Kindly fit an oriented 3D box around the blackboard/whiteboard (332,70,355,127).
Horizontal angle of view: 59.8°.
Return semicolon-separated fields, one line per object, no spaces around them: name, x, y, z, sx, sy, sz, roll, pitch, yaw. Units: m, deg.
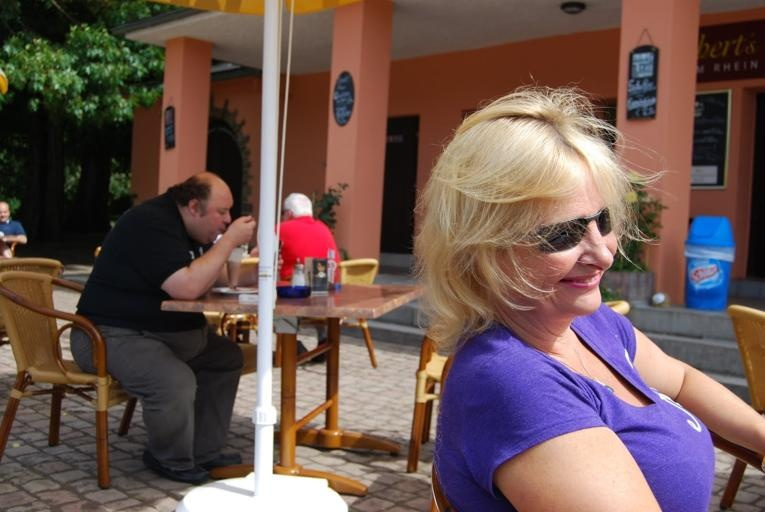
blackboard/whiteboard;-0.601;-2.444;10.349;0.040;1.033;0.755;-4;13;-32

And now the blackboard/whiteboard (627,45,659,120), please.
blackboard/whiteboard;3.057;-2.061;7.856;0.376;0.828;0.027;-4;13;-2

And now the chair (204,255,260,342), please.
chair;-1.549;0.796;7.102;0.376;0.410;0.389;-10;-13;32

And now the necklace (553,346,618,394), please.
necklace;0.661;0.350;2.172;0.132;0.145;0.163;4;5;31

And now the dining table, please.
dining table;-0.468;0.844;4.497;1.206;1.251;1.515;4;4;19

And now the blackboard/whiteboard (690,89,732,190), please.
blackboard/whiteboard;4.921;-1.704;10.129;0.046;1.478;0.819;-7;11;-23

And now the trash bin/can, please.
trash bin/can;3.636;0.071;7.429;0.533;1.001;0.530;4;-1;-30

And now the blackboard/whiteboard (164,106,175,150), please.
blackboard/whiteboard;-4.314;-2.580;13.352;0.116;0.846;0.382;15;26;15

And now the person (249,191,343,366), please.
person;-0.805;0.186;7.044;0.834;1.655;0.695;-3;0;35

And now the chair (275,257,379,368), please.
chair;-0.329;0.598;7.254;1.019;1.431;1.120;5;-6;-41
